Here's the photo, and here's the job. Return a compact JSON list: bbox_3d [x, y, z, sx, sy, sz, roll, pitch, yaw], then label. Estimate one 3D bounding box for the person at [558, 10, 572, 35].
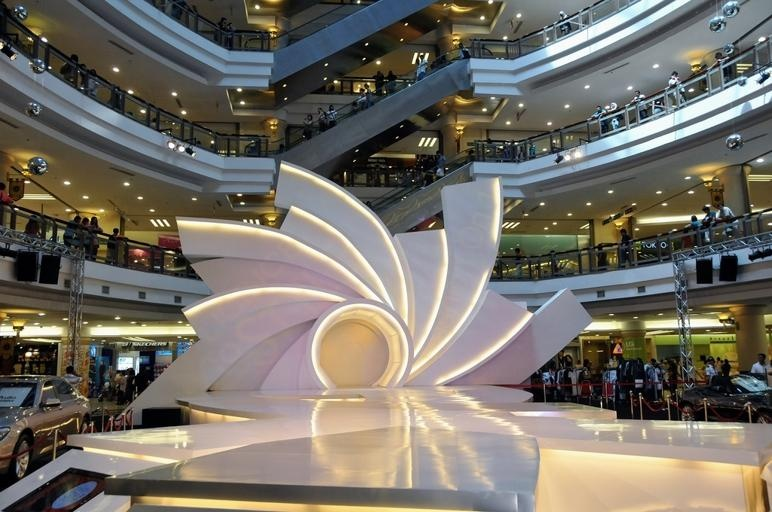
[{"bbox_3d":[7.886,-10.232,24.008,0.522,1.260,0.252,-9,-16,32],"label":"person"}]
